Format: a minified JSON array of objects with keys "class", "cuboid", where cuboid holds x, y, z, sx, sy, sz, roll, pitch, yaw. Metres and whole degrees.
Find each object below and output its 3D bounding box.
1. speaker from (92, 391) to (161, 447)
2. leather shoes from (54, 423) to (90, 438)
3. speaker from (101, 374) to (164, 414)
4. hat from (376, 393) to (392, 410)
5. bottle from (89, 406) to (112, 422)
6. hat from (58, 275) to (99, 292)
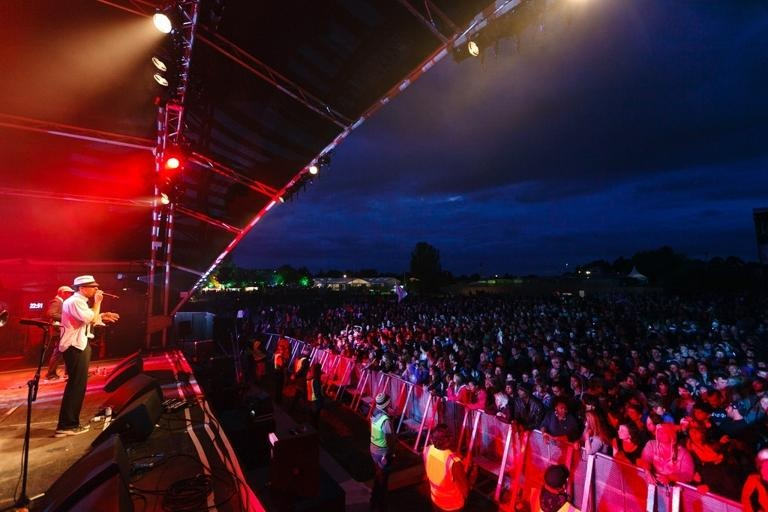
[{"class":"speaker","cuboid":[-4.872,3.151,8.622,0.757,0.393,1.028,-12,6,-21]},{"class":"leather shoes","cuboid":[-6.003,3.351,8.676,0.556,0.231,0.201,1,0,-23]},{"class":"speaker","cuboid":[-5.132,2.790,9.246,0.683,0.303,0.991,3,20,32]},{"class":"hat","cuboid":[-0.034,3.109,9.679,0.283,0.379,0.505,1,-6,-6]},{"class":"bottle","cuboid":[-5.730,3.233,9.187,0.389,0.385,0.242,-5,-6,31]},{"class":"hat","cuboid":[-7.966,0.677,11.592,0.793,0.267,0.674,-3,-3,-25]}]
